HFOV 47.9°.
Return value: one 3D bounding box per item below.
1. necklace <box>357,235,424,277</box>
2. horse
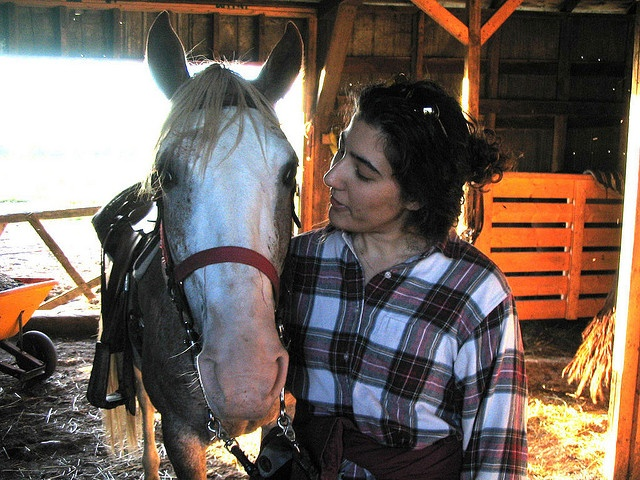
[{"bbox_3d":[0.495,0.064,5.346,0.328,0.390,0.189,2,2,5],"label":"necklace"},{"bbox_3d":[-0.965,0.314,5.727,1.176,4.083,2.110,-7,14,-32],"label":"horse"}]
